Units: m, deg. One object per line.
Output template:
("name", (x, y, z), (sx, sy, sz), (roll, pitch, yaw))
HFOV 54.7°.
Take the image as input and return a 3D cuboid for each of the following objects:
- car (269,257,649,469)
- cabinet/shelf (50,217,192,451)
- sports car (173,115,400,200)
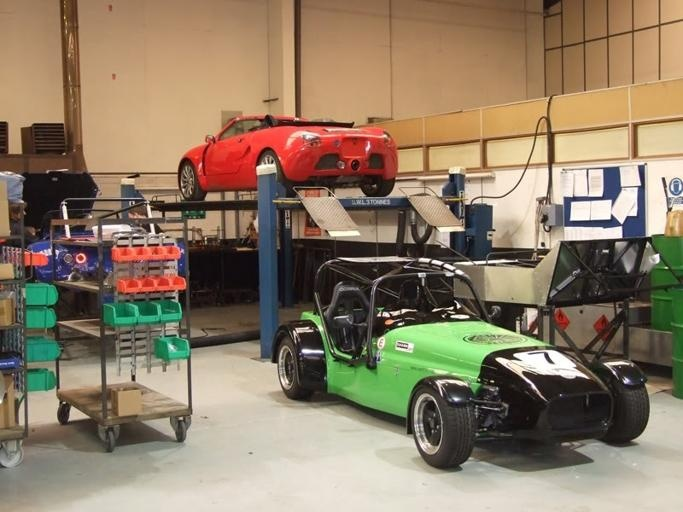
("car", (0.748, 0.855, 6.145), (1.669, 1.258, 3.105), (0, 0, -29))
("cabinet/shelf", (-1.982, 0.559, 6.071), (1.271, 2.042, 1.210), (3, -2, -28))
("sports car", (-0.906, -1.438, 9.891), (1.555, 0.919, 2.815), (-2, 6, -36))
